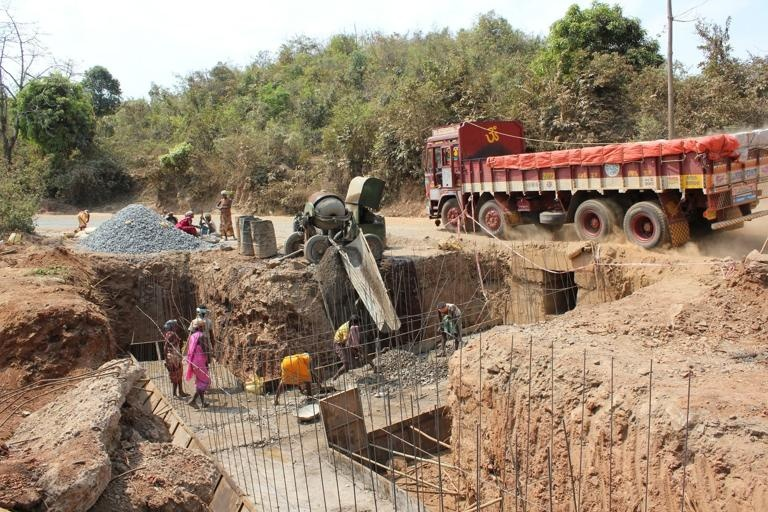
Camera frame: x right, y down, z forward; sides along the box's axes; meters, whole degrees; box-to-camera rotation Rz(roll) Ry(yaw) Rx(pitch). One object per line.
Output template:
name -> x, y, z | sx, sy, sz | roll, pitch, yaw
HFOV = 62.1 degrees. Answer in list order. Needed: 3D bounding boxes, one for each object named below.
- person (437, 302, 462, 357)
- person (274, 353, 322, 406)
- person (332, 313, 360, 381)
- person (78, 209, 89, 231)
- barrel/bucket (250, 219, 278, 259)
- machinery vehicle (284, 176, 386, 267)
person -> 1.628, 1.829, 15.805 | 0.503, 1.389, 1.297 | -4, 5, 3
person -> -2.071, 2.836, 14.863 | 1.174, 1.397, 1.027 | -5, 11, -23
person -> -0.940, 2.278, 15.376 | 0.704, 1.654, 1.300 | -5, 5, -6
person -> -12.173, -1.372, 25.733 | 0.341, 0.734, 0.851 | -6, 6, -21
barrel/bucket -> -3.431, -0.466, 18.198 | 0.661, 1.112, 0.392 | -6, 6, -16
machinery vehicle -> -1.256, -1.011, 17.669 | 2.664, 2.309, 1.813 | -5, 9, -27
